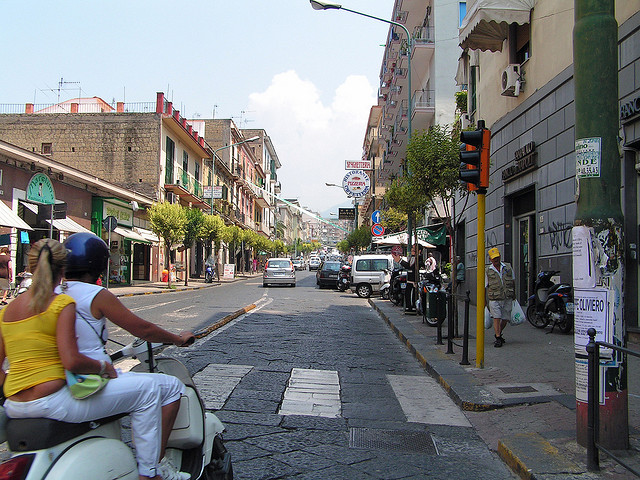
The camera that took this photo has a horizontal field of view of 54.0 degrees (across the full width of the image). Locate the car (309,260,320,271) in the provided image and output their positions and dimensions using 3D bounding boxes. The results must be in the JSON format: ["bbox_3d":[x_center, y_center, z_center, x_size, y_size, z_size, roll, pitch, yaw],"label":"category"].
[{"bbox_3d":[-0.839,3.176,80.190,0.860,1.012,1.746,0,-5,0],"label":"car"}]

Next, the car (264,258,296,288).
[{"bbox_3d":[-2.046,1.632,31.522,1.505,1.477,1.587,0,-4,-6],"label":"car"}]

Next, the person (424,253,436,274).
[{"bbox_3d":[3.085,0.667,17.558,0.262,0.425,0.860,-1,-5,10],"label":"person"}]

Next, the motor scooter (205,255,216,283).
[{"bbox_3d":[-7.064,1.726,38.824,0.950,1.410,1.930,1,9,0],"label":"motor scooter"}]

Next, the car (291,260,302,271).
[{"bbox_3d":[-2.907,3.101,78.803,0.790,0.929,1.615,-1,-6,4],"label":"car"}]

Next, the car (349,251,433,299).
[{"bbox_3d":[2.375,1.188,24.963,2.539,1.773,1.523,0,14,-12],"label":"car"}]

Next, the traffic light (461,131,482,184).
[{"bbox_3d":[2.268,-1.158,9.440,0.301,0.749,1.035,-1,-5,13],"label":"traffic light"}]

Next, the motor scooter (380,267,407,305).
[{"bbox_3d":[2.430,1.435,19.661,0.387,1.110,1.758,0,-5,2],"label":"motor scooter"}]

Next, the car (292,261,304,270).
[{"bbox_3d":[-2.895,2.941,78.883,1.072,1.194,2.198,-1,-6,5],"label":"car"}]

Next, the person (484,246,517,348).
[{"bbox_3d":[3.307,1.039,11.535,0.522,1.773,0.930,-1,-4,16],"label":"person"}]

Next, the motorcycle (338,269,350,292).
[{"bbox_3d":[1.033,1.718,27.306,0.393,0.897,1.310,0,-5,-5],"label":"motorcycle"}]

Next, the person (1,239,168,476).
[{"bbox_3d":[-1.696,0.836,4.482,1.066,1.682,0.370,2,-4,-28],"label":"person"}]

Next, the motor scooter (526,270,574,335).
[{"bbox_3d":[4.984,1.267,13.552,0.472,1.409,1.794,-1,-1,-3],"label":"motor scooter"}]

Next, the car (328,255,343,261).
[{"bbox_3d":[3.419,3.875,137.287,1.858,1.200,1.272,-6,9,2],"label":"car"}]

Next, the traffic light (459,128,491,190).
[{"bbox_3d":[2.250,-1.187,9.156,0.413,0.914,0.471,-1,-4,14],"label":"traffic light"}]
